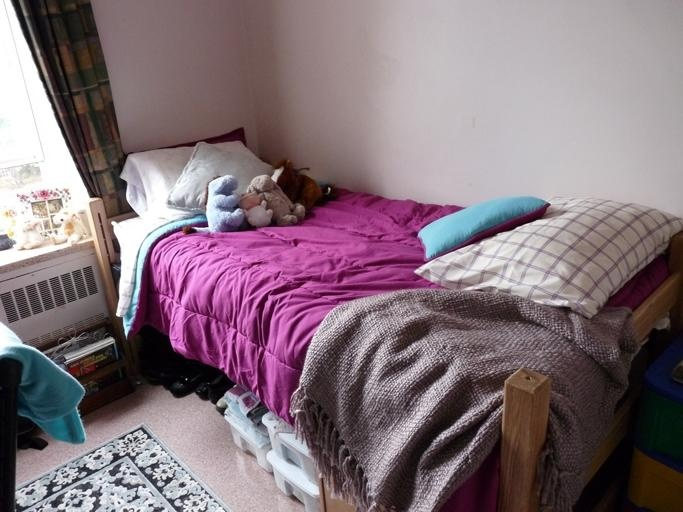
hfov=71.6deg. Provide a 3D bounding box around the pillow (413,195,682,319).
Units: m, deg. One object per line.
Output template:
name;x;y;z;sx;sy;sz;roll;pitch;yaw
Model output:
pillow;0.837;-0.055;1.706;0.621;0.172;0.496;-34;22;-27

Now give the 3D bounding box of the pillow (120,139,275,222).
pillow;-0.890;-0.489;2.809;0.588;0.184;0.598;-25;45;-24

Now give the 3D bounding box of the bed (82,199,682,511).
bed;-0.008;0.153;1.978;1.682;0.910;1.218;30;44;32

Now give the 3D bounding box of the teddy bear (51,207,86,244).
teddy bear;-1.577;-0.188;2.724;0.158;0.214;0.156;-6;15;-2

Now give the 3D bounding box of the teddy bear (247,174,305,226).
teddy bear;-0.390;-0.260;2.671;0.342;0.148;0.224;42;52;2

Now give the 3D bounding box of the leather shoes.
leather shoes;-0.878;0.690;2.679;0.359;0.128;0.260;22;29;33

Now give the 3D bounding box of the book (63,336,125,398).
book;-1.330;0.566;2.508;0.079;0.282;0.272;-11;15;47

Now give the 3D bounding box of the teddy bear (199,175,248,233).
teddy bear;-0.621;-0.264;2.553;0.228;0.325;0.239;-22;-7;41

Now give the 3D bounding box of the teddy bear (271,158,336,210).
teddy bear;-0.232;-0.416;2.819;0.404;0.218;0.163;14;13;-17
